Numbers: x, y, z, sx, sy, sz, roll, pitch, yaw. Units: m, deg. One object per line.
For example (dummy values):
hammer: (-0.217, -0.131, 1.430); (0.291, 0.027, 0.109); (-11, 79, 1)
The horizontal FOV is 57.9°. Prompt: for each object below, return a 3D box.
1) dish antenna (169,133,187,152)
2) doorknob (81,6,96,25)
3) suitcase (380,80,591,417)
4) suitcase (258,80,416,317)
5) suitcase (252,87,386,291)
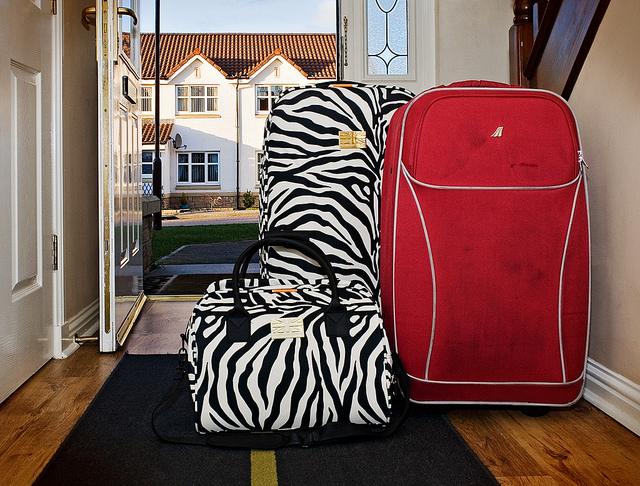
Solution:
dish antenna: (-3.981, -2.801, 16.192); (0.356, 0.526, 0.450); (3, 11, 15)
doorknob: (-0.965, -0.957, 2.420); (0.076, 0.030, 0.081); (-3, -11, -4)
suitcase: (0.474, -0.012, 1.848); (0.533, 0.903, 0.554); (-1, 6, -3)
suitcase: (0.032, -0.263, 2.023); (0.469, 0.825, 0.446); (2, 28, -6)
suitcase: (0.004, -0.244, 1.949); (0.446, 0.742, 0.263); (2, 41, -12)
